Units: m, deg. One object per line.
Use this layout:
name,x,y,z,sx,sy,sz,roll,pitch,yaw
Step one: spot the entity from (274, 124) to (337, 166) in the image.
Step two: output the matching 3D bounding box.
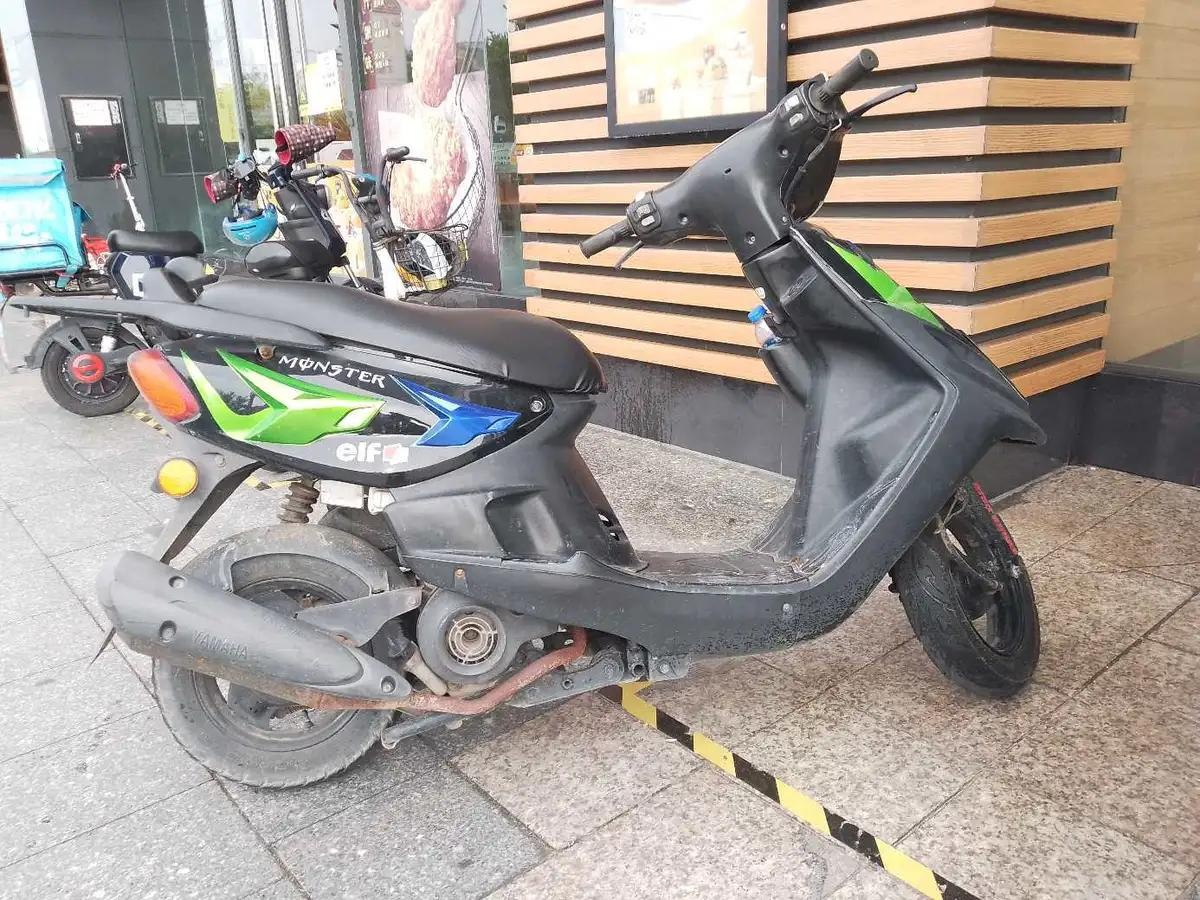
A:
entity,-1.658,-1.756,4.635,0.399,0.196,0.219,-15,14,-28

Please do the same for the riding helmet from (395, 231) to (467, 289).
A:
riding helmet,-0.985,-1.118,4.726,0.448,0.237,0.332,-8,30,-13
